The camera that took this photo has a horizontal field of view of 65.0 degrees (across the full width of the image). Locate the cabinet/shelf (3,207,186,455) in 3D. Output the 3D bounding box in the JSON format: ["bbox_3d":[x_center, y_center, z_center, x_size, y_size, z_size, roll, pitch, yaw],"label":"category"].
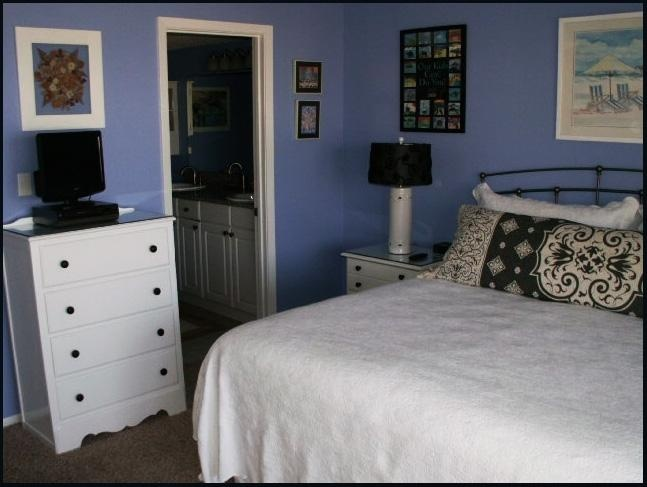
[{"bbox_3d":[-1.377,0.511,3.119,0.973,1.290,0.434,-8,14,-29],"label":"cabinet/shelf"}]

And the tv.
[{"bbox_3d":[-1.573,-0.477,3.093,0.143,0.414,0.410,10,15,43],"label":"tv"}]

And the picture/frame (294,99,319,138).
[{"bbox_3d":[-0.135,-1.076,4.393,0.245,0.313,0.030,-11,16,-40],"label":"picture/frame"}]

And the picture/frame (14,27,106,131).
[{"bbox_3d":[-1.669,-1.036,3.153,0.038,0.747,0.674,5,9,43],"label":"picture/frame"}]

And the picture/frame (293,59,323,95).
[{"bbox_3d":[-0.152,-1.430,4.335,0.324,0.304,0.034,-4,8,-41],"label":"picture/frame"}]

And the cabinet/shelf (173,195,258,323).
[{"bbox_3d":[-0.988,0.129,4.736,1.112,0.966,0.431,7,10,40],"label":"cabinet/shelf"}]

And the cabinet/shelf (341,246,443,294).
[{"bbox_3d":[0.523,0.165,3.892,0.399,0.538,0.545,-8,12,-38],"label":"cabinet/shelf"}]
